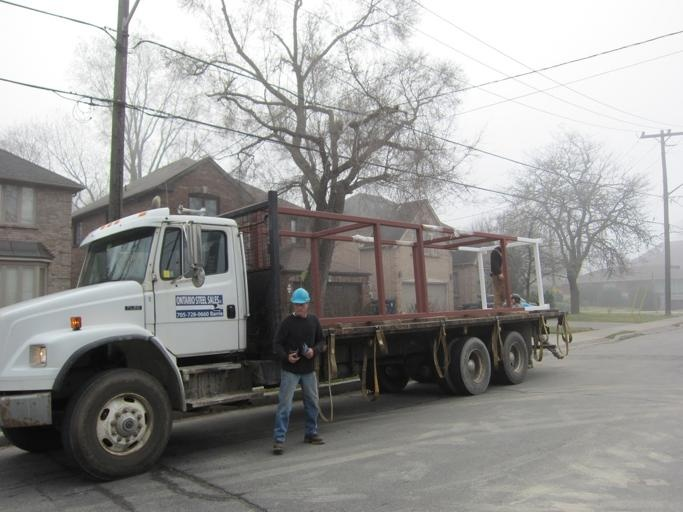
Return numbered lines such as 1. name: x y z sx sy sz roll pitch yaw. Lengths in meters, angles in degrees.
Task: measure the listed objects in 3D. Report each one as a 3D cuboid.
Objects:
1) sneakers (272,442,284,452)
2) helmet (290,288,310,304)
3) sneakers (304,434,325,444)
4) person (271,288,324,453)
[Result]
1. sneakers: -0.964 2.882 8.702 0.190 0.167 0.233 -3 -7 0
2. helmet: -0.617 0.636 8.985 0.225 0.190 0.314 4 -1 8
3. sneakers: -0.426 2.875 9.136 0.295 0.157 0.128 -4 -5 29
4. person: -0.642 1.740 8.862 0.841 2.424 0.467 2 -8 -39
